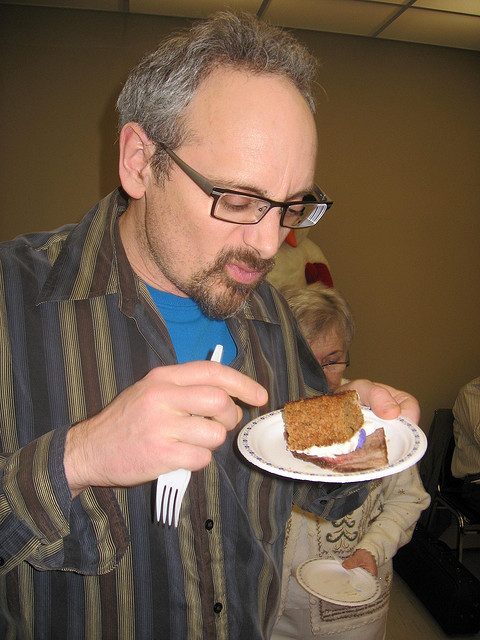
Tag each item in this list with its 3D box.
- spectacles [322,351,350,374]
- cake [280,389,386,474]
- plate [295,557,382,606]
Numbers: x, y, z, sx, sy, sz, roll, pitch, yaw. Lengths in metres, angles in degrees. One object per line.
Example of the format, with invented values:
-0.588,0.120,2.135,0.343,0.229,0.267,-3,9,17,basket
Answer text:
0.493,0.227,2.753,0.064,0.082,0.239,20,24,37,spectacles
0.221,0.247,1.288,0.166,0.116,0.170,-3,2,34,cake
0.378,1.035,2.242,0.203,0.024,0.192,12,9,19,plate
